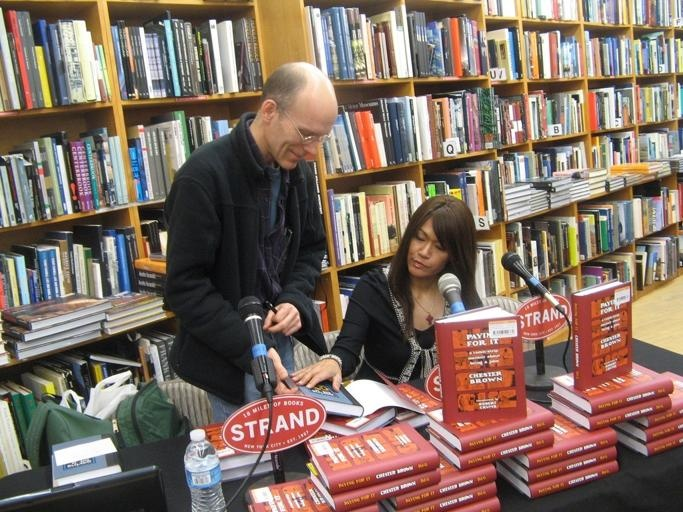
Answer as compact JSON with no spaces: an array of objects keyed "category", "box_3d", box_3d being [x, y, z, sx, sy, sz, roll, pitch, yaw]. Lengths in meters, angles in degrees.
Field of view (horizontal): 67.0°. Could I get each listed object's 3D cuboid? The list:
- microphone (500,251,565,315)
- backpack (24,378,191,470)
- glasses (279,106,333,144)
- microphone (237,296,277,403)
[{"category":"microphone","box_3d":[1.111,0.130,3.033,0.120,0.432,0.100,-40,-5,-10]},{"category":"backpack","box_3d":[-0.935,0.621,2.151,0.632,0.282,0.413,2,-10,-27]},{"category":"glasses","box_3d":[-0.123,-0.431,1.702,0.035,0.115,0.113,-42,-12,31]},{"category":"microphone","box_3d":[-0.212,0.229,1.321,0.057,0.241,0.233,-11,12,-12]}]
